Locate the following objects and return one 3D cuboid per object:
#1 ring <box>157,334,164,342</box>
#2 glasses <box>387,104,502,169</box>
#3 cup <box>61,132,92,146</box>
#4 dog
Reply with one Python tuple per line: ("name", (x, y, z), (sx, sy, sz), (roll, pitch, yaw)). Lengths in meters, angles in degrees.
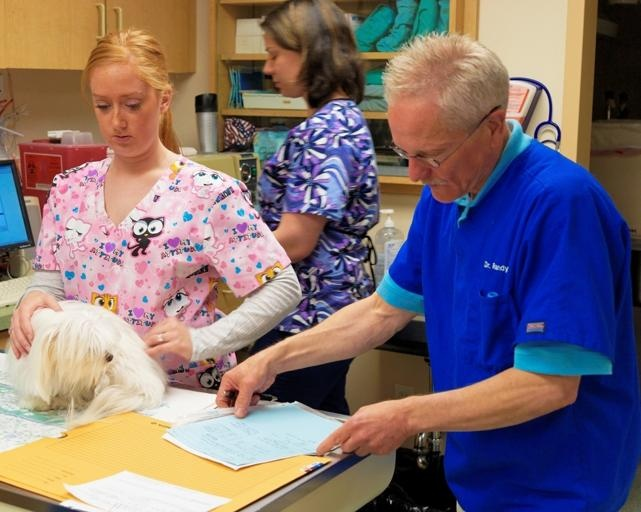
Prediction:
("ring", (-0.385, 0.197, 1.414), (0.016, 0.025, 0.012), (1, -7, 9))
("glasses", (0.271, -0.223, 1.182), (0.149, 0.039, 0.146), (-43, 33, -21))
("cup", (-1.092, -0.517, 2.596), (0.083, 0.042, 0.105), (9, 12, 30))
("dog", (-0.565, 0.245, 1.409), (0.355, 0.149, 0.230), (9, 17, 27))
